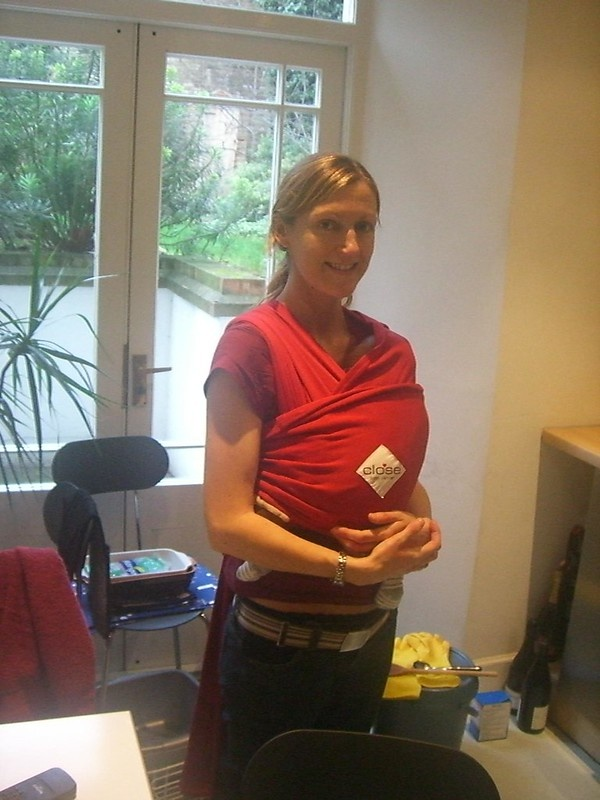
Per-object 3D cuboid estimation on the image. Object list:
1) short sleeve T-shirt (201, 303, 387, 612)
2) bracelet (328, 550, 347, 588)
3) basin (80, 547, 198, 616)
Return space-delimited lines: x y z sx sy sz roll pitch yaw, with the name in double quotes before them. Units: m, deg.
"short sleeve T-shirt" -0.033 0.077 0.929 0.261 0.313 0.116 -3 12 -17
"bracelet" 0.060 0.249 1.019 0.031 0.042 0.048 6 10 9
"basin" -0.472 0.530 2.069 0.341 0.104 0.241 -2 2 -22
